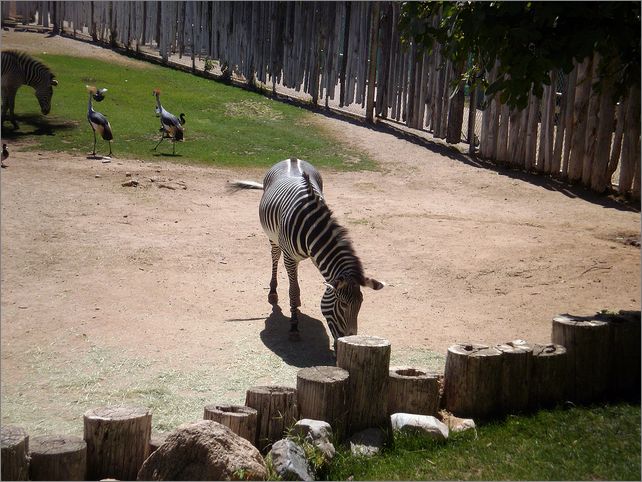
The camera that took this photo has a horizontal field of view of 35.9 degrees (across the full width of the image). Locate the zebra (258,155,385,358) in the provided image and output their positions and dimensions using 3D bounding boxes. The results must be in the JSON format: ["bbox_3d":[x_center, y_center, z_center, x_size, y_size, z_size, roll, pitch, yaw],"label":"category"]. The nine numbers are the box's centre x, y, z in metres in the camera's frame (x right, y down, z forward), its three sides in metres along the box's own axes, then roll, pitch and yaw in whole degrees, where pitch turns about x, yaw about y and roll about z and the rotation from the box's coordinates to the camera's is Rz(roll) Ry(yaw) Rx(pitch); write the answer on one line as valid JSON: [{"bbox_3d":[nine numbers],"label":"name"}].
[{"bbox_3d":[-0.051,0.177,15.233,1.007,2.711,3.186,1,8,-21],"label":"zebra"}]
